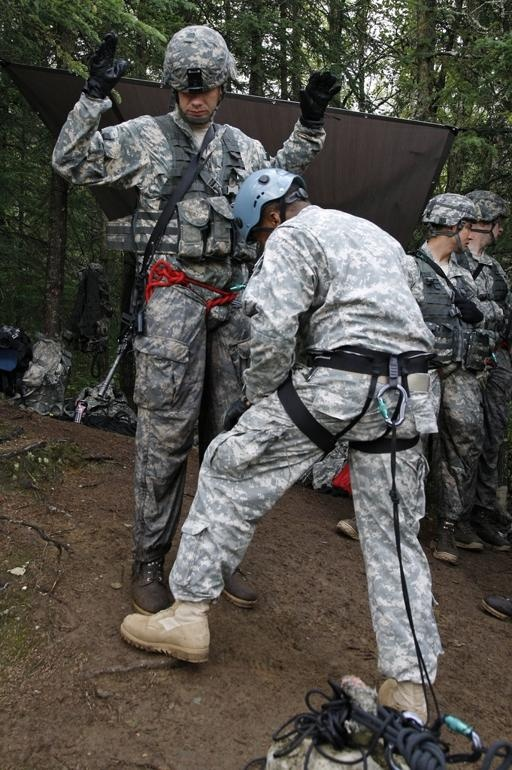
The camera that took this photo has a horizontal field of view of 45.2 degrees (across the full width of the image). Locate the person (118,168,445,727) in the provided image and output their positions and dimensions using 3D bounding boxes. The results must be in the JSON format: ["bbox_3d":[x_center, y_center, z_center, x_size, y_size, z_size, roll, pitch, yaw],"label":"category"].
[{"bbox_3d":[0.298,0.160,2.133,0.931,1.503,0.429,12,10,12],"label":"person"}]

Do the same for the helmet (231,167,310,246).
[{"bbox_3d":[0.044,-0.733,2.410,0.326,0.237,0.239,-10,2,24],"label":"helmet"}]

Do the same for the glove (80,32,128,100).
[{"bbox_3d":[-0.637,-1.342,2.621,0.154,0.337,0.358,7,10,-16],"label":"glove"}]

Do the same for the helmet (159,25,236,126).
[{"bbox_3d":[-0.273,-1.410,2.764,0.282,0.448,0.307,11,10,7],"label":"helmet"}]

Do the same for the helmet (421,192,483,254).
[{"bbox_3d":[1.421,-1.128,4.345,0.419,0.417,0.321,11,5,25],"label":"helmet"}]
